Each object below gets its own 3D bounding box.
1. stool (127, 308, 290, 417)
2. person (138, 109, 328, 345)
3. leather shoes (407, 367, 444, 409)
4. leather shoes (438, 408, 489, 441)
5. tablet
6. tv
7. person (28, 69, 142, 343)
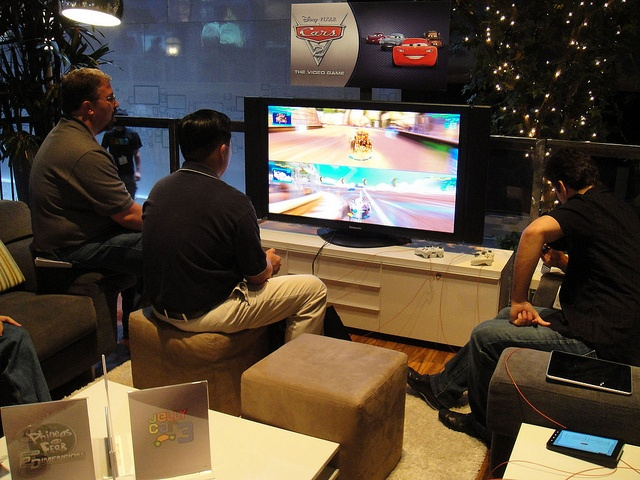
[{"bbox_3d":[-0.627,0.566,2.770,0.598,0.459,0.605,6,10,35],"label":"stool"},{"bbox_3d":[-0.487,0.059,2.937,1.035,1.461,0.899,-2,8,-30],"label":"person"},{"bbox_3d":[0.621,0.889,3.054,0.343,0.141,0.107,45,-21,-30],"label":"leather shoes"},{"bbox_3d":[0.762,0.982,2.776,0.284,0.117,0.096,23,23,33],"label":"leather shoes"},{"bbox_3d":[1.179,0.587,2.241,0.349,0.037,0.208,9,26,26],"label":"tablet"},{"bbox_3d":[0.292,-0.527,3.881,1.820,1.082,0.406,7,19,18],"label":"tv"},{"bbox_3d":[-1.418,-0.364,3.078,0.698,1.331,0.378,-1,13,-9],"label":"person"}]
